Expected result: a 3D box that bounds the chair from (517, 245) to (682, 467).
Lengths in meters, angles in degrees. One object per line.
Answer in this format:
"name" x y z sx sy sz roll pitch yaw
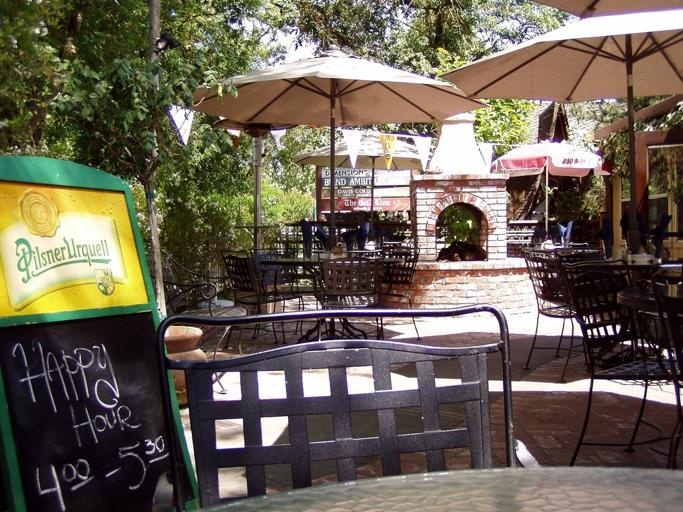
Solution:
"chair" 1.927 0.748 4.548 0.475 0.707 1.383 -3 3 4
